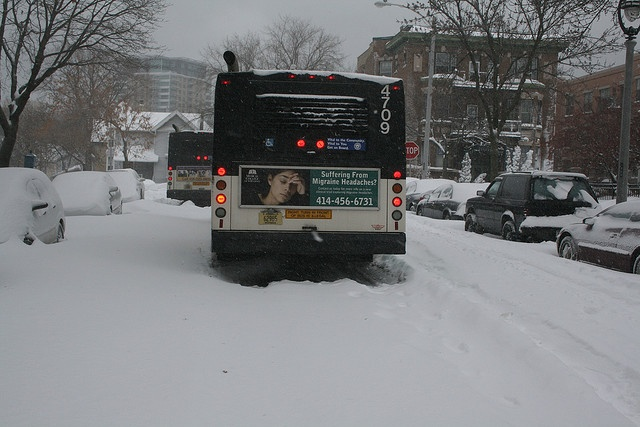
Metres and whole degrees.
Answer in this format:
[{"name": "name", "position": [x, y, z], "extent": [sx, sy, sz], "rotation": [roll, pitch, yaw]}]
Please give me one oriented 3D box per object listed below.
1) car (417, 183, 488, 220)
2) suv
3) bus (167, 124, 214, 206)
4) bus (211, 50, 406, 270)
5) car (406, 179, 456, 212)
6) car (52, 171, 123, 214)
[{"name": "car", "position": [4.901, -0.454, 22.066], "extent": [1.130, 0.996, 2.726], "rotation": [-1, 7, -11]}, {"name": "suv", "position": [5.916, -0.254, 16.648], "extent": [1.721, 1.822, 3.440], "rotation": [0, 7, -11]}, {"name": "bus", "position": [-5.666, -1.969, 24.515], "extent": [2.043, 2.672, 4.164], "rotation": [1, 7, -7]}, {"name": "bus", "position": [-0.293, -1.076, 12.656], "extent": [2.447, 2.894, 4.271], "rotation": [1, 3, -2]}, {"name": "car", "position": [4.892, -0.907, 28.057], "extent": [1.161, 1.124, 2.731], "rotation": [0, 5, 28]}, {"name": "car", "position": [-6.663, -0.577, 16.830], "extent": [0.994, 0.923, 2.402], "rotation": [0, 2, -7]}]
